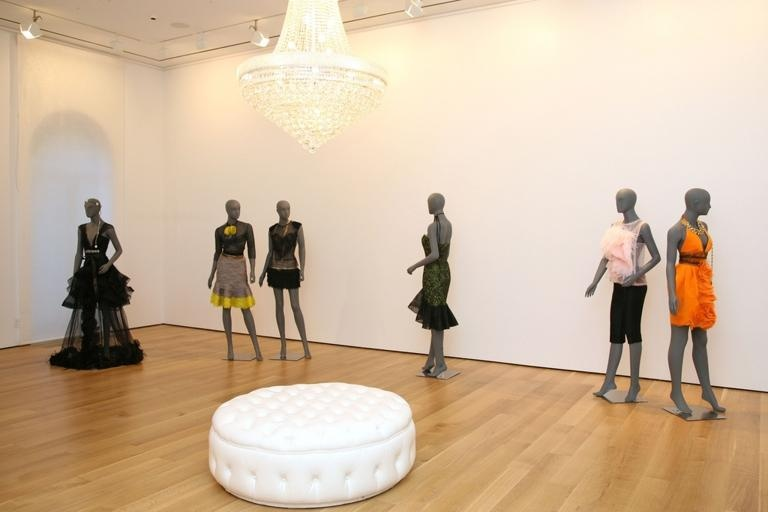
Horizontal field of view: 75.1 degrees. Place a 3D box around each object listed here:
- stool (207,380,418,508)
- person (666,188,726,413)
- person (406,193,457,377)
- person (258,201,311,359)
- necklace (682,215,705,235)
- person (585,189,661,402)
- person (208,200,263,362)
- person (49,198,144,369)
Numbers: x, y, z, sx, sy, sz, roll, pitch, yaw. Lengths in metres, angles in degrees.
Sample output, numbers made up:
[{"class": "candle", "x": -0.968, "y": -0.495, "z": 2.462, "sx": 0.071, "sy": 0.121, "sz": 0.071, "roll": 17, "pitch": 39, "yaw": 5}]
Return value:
[{"class": "stool", "x": -0.568, "y": 1.544, "z": 4.069, "sx": 1.600, "sy": 0.660, "sz": 0.855, "roll": -1, "pitch": 3, "yaw": 9}, {"class": "person", "x": 3.184, "y": 0.471, "z": 5.148, "sx": 0.615, "sy": 2.349, "sz": 0.337, "roll": -2, "pitch": 3, "yaw": -19}, {"class": "person", "x": 0.619, "y": 0.377, "z": 6.251, "sx": 0.564, "sy": 2.314, "sz": 0.432, "roll": -1, "pitch": 3, "yaw": 8}, {"class": "person", "x": -1.397, "y": 0.351, "z": 7.089, "sx": 0.666, "sy": 2.243, "sz": 0.399, "roll": -1, "pitch": 3, "yaw": -3}, {"class": "necklace", "x": 3.169, "y": -0.288, "z": 5.125, "sx": 0.176, "sy": 0.264, "sz": 0.064, "roll": 2, "pitch": -19, "yaw": -16}, {"class": "person", "x": 2.660, "y": 0.445, "z": 5.459, "sx": 0.615, "sy": 2.326, "sz": 0.278, "roll": 0, "pitch": 4, "yaw": 29}, {"class": "person", "x": -2.104, "y": 0.341, "z": 7.086, "sx": 0.733, "sy": 2.251, "sz": 0.462, "roll": -1, "pitch": 3, "yaw": -4}, {"class": "person", "x": -3.926, "y": 0.361, "z": 6.823, "sx": 1.099, "sy": 2.262, "sz": 0.611, "roll": -1, "pitch": 3, "yaw": -1}]
